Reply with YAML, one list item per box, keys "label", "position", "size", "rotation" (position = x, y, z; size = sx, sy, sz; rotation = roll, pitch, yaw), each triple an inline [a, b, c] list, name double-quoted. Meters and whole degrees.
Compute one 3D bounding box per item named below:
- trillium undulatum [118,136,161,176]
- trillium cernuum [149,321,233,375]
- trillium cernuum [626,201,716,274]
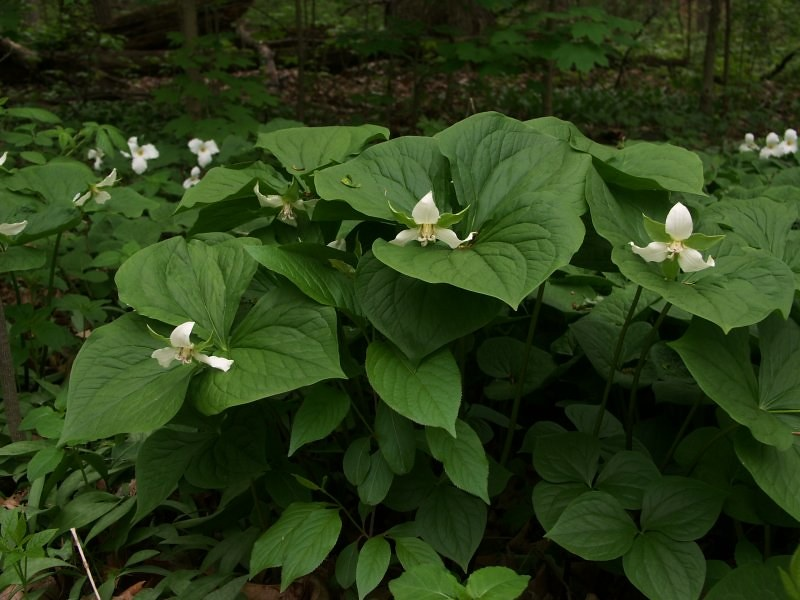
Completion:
- label: "trillium undulatum"
  position: [-2.665, -1.420, 6.077]
  size: [0.235, 0.397, 0.645]
  rotation: [-10, 29, -24]
- label: "trillium cernuum"
  position: [-0.798, 0.212, 2.272]
  size: [0.241, 0.231, 0.084]
  rotation: [33, 25, -22]
- label: "trillium cernuum"
  position: [1.002, -0.212, 2.159]
  size: [0.292, 0.242, 0.089]
  rotation: [7, 28, 7]
